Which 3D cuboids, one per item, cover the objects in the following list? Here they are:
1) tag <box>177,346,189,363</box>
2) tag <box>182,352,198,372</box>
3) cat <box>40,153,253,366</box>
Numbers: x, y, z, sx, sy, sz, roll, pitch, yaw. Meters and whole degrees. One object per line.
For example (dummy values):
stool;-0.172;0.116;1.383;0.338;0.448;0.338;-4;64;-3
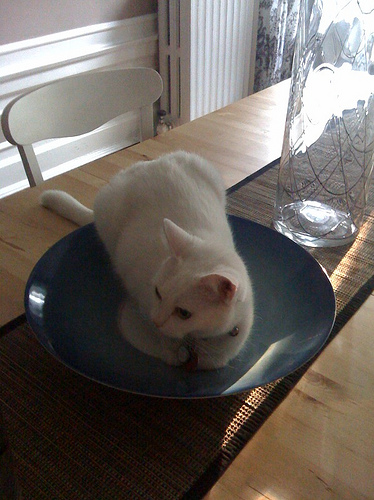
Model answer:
tag;-0.003;0.096;0.398;0.003;0.012;0.011;4;46;-44
tag;0.004;0.101;0.394;0.013;0.003;0.014;-48;57;2
cat;-0.035;-0.015;0.492;0.211;0.125;0.322;-6;35;-17
